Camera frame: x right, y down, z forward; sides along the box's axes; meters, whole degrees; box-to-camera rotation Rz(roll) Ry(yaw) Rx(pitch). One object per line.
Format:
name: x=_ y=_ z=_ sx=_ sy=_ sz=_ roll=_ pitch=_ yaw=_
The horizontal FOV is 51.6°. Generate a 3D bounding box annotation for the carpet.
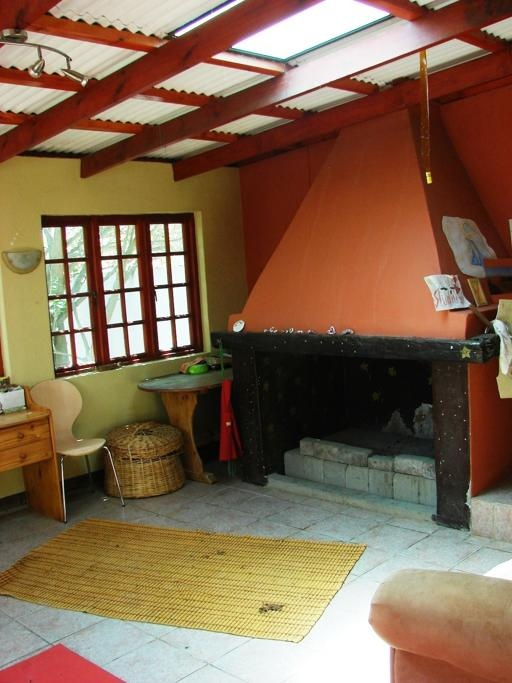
carpet: x=-0.488 y=1.432 z=3.322 sx=2.095 sy=0.040 sz=1.124 roll=-3 pitch=4 yaw=23

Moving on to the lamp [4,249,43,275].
lamp: x=-2.032 y=-0.707 z=4.647 sx=0.078 sy=0.189 sz=0.342 roll=-3 pitch=4 yaw=37
